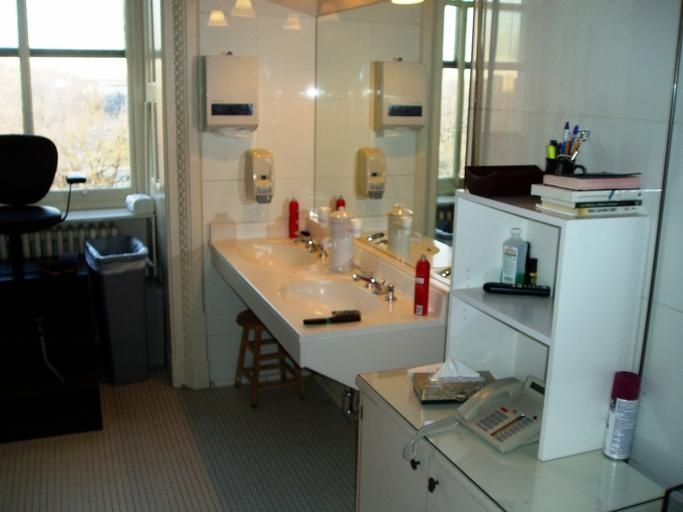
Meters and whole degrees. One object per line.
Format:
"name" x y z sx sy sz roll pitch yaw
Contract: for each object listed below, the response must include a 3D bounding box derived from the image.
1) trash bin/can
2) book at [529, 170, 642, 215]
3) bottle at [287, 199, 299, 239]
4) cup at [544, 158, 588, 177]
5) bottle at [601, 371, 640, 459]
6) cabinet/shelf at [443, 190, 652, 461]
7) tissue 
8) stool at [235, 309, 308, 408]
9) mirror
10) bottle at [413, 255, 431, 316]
"trash bin/can" -1.489 0.365 3.802 0.367 0.887 0.497 -8 17 -25
"book" 0.753 -0.181 1.705 0.177 0.092 0.182 -4 13 -19
"bottle" -0.320 -0.245 3.662 0.076 0.239 0.116 -2 16 -5
"cup" 0.716 -0.289 1.790 0.114 0.048 0.072 6 13 13
"bottle" 0.886 0.509 1.775 0.078 0.298 0.065 8 18 27
"cabinet/shelf" 0.683 0.194 1.946 0.404 0.788 0.561 -8 17 -25
"tissue " 0.382 0.465 2.033 0.182 0.047 0.195 -3 10 -10
"stool" -0.514 0.569 3.728 0.535 0.711 0.547 -2 15 -24
"mirror" 0.140 -0.753 3.028 0.151 1.160 1.354 -7 17 -23
"bottle" 0.349 0.128 2.446 0.059 0.278 0.045 0 15 1
